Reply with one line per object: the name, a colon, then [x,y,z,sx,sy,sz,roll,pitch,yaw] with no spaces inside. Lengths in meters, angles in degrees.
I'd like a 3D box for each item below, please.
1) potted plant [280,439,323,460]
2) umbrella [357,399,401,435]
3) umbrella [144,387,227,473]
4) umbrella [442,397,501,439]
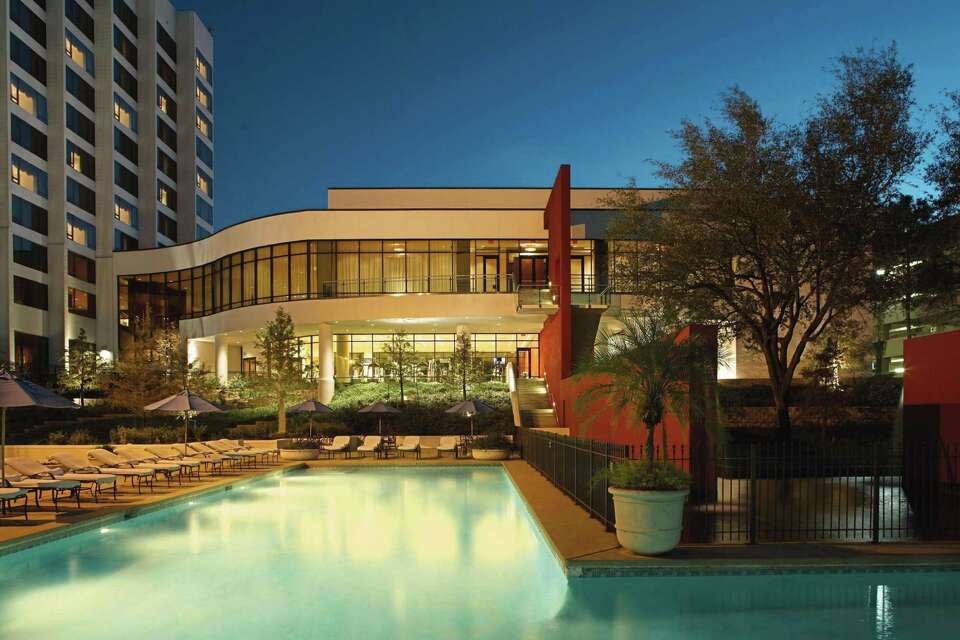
potted plant: [-8.813,6.217,40.544,2.432,0.854,1.397,1,4,34]
umbrella: [-5.112,5.174,41.879,2.136,1.918,2.201,-1,-1,10]
umbrella: [-11.807,4.211,34.066,2.857,2.686,2.793,2,-9,-22]
umbrella: [-0.732,4.961,39.917,2.241,1.636,2.304,-3,-2,28]
